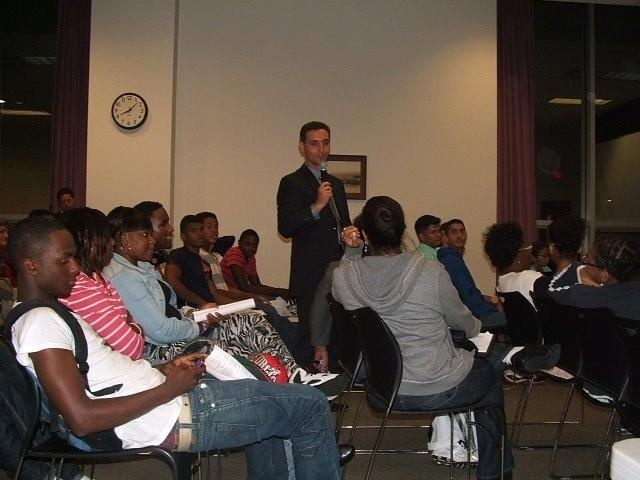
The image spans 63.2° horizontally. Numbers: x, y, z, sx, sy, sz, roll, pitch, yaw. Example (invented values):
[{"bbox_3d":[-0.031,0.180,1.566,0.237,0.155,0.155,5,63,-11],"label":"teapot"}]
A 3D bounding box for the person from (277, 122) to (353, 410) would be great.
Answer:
[{"bbox_3d":[-0.004,0.160,3.437,0.459,1.813,0.515,9,13,36],"label":"person"}]

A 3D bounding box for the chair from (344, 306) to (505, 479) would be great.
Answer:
[{"bbox_3d":[0.414,0.726,2.948,0.819,1.226,0.704,0,-3,-8],"label":"chair"}]

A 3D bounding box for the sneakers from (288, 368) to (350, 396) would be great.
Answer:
[{"bbox_3d":[-0.004,0.714,2.765,0.289,0.163,0.173,4,-3,-3],"label":"sneakers"}]

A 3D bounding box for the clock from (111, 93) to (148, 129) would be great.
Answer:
[{"bbox_3d":[-2.208,-1.499,5.927,0.362,0.429,0.083,-1,0,0],"label":"clock"}]

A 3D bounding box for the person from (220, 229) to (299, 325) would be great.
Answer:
[{"bbox_3d":[-0.668,0.503,5.121,0.639,1.200,0.407,2,-5,16],"label":"person"}]

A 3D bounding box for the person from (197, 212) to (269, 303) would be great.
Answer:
[{"bbox_3d":[-0.707,0.144,4.902,0.858,1.028,0.529,-3,-5,5],"label":"person"}]

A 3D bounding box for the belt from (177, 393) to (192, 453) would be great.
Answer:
[{"bbox_3d":[-0.524,0.722,2.009,0.047,0.163,0.110,3,0,-14],"label":"belt"}]

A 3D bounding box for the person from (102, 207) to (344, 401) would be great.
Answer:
[{"bbox_3d":[-0.556,0.332,2.962,1.247,1.113,0.590,-3,-2,-16],"label":"person"}]
